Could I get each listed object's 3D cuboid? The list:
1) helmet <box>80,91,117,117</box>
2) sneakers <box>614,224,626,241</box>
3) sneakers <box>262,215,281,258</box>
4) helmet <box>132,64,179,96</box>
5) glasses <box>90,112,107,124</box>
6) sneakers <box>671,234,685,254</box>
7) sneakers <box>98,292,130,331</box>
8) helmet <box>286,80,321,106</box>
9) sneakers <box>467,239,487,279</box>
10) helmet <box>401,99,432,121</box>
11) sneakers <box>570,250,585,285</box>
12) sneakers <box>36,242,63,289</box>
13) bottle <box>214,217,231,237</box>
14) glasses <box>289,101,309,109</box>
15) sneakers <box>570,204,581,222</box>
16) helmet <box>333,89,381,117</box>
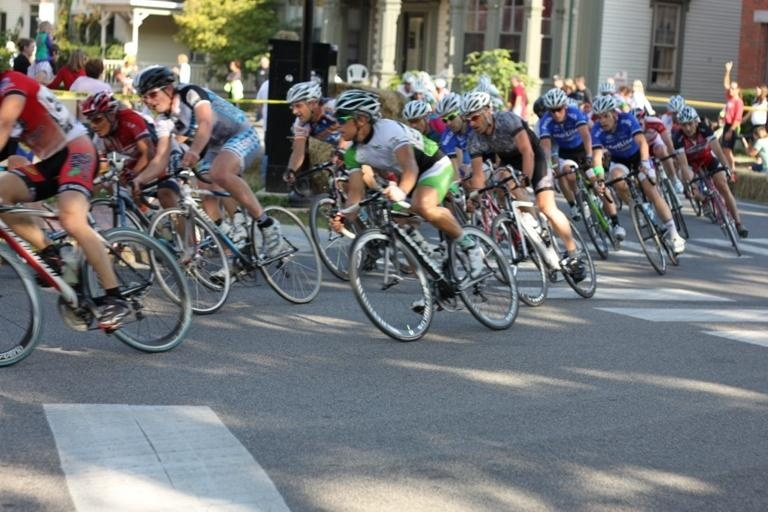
[{"bbox_3d":[-2.634,-1.445,7.936,0.209,0.127,0.304,3,21,15],"label":"helmet"},{"bbox_3d":[3.767,-0.372,13.610,0.208,0.109,0.278,19,31,13],"label":"sneakers"},{"bbox_3d":[-1.189,-0.226,9.103,0.149,0.468,0.195,3,18,41],"label":"sneakers"},{"bbox_3d":[-2.211,-1.739,8.255,0.266,0.196,0.363,-5,9,41],"label":"helmet"},{"bbox_3d":[-2.729,-1.312,8.033,0.097,0.104,0.039,-7,-3,26],"label":"glasses"},{"bbox_3d":[4.201,-0.204,12.150,0.212,0.300,0.122,7,-7,8],"label":"sneakers"},{"bbox_3d":[-2.271,0.474,7.119,0.306,0.194,0.074,-17,12,-38],"label":"sneakers"},{"bbox_3d":[-0.990,-2.049,10.471,0.411,0.261,0.300,-7,23,-8],"label":"helmet"},{"bbox_3d":[0.940,0.042,8.597,0.131,0.412,0.170,-11,-8,37],"label":"sneakers"},{"bbox_3d":[0.379,-1.696,9.854,0.245,0.146,0.387,2,7,17],"label":"helmet"},{"bbox_3d":[2.314,0.143,10.108,0.186,0.305,0.138,7,-11,-29],"label":"sneakers"},{"bbox_3d":[-2.761,0.076,7.003,0.193,0.351,0.192,-3,13,-24],"label":"sneakers"},{"bbox_3d":[-1.685,-0.313,8.824,0.182,0.053,0.131,41,28,7],"label":"bottle"},{"bbox_3d":[-1.055,-1.887,10.458,0.126,0.059,0.104,-12,-1,28],"label":"glasses"},{"bbox_3d":[3.204,-0.723,14.177,0.164,0.264,0.101,-22,6,24],"label":"sneakers"},{"bbox_3d":[-0.244,-1.458,7.982,0.340,0.188,0.257,2,19,-1],"label":"helmet"}]
